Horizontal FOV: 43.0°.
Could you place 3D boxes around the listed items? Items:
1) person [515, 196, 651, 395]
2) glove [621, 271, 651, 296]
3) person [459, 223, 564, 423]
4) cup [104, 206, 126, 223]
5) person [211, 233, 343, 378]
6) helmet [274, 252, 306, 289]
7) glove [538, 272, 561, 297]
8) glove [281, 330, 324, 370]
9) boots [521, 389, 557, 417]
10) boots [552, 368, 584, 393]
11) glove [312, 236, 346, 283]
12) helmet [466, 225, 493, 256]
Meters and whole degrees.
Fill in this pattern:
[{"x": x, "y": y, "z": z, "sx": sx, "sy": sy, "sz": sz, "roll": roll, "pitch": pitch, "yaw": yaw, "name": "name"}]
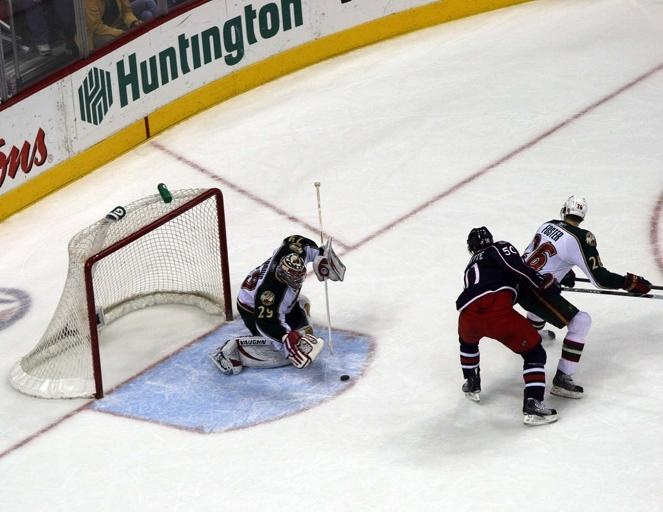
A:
[{"x": 1.720, "y": 0.180, "z": 5.978, "sx": 1.105, "sy": 1.190, "sz": 1.045, "roll": -5, "pitch": 20, "yaw": -2, "name": "person"}, {"x": 2.066, "y": 0.198, "z": 5.749, "sx": 0.231, "sy": 0.081, "sz": 0.124, "roll": 13, "pitch": 48, "yaw": -14, "name": "glove"}, {"x": 1.127, "y": 0.457, "z": 5.479, "sx": 0.620, "sy": 1.077, "sz": 0.864, "roll": -2, "pitch": 28, "yaw": 8, "name": "person"}, {"x": -1.603, "y": -0.309, "z": 6.298, "sx": 0.092, "sy": 0.089, "sz": 0.197, "roll": 13, "pitch": 30, "yaw": 31, "name": "cup"}, {"x": -0.413, "y": 0.421, "z": 6.321, "sx": 0.738, "sy": 0.781, "sz": 0.667, "roll": 15, "pitch": 54, "yaw": 6, "name": "person"}, {"x": -0.308, "y": 0.092, "z": 5.976, "sx": 0.217, "sy": 0.211, "sz": 0.267, "roll": 3, "pitch": 13, "yaw": -42, "name": "helmet"}, {"x": 1.437, "y": 0.197, "z": 5.586, "sx": 0.089, "sy": 0.113, "sz": 0.119, "roll": 31, "pitch": 36, "yaw": 20, "name": "glove"}, {"x": -0.228, "y": 0.648, "z": 5.951, "sx": 0.286, "sy": 0.089, "sz": 0.294, "roll": 34, "pitch": 50, "yaw": 23, "name": "glove"}, {"x": 1.316, "y": 0.948, "z": 5.333, "sx": 0.206, "sy": 0.140, "sz": 0.123, "roll": 2, "pitch": 28, "yaw": 14, "name": "boots"}, {"x": 1.560, "y": 0.847, "z": 5.672, "sx": 0.249, "sy": 0.196, "sz": 0.112, "roll": 0, "pitch": 13, "yaw": 10, "name": "boots"}, {"x": -0.004, "y": 0.033, "z": 6.236, "sx": 0.362, "sy": 0.123, "sz": 0.298, "roll": 18, "pitch": 48, "yaw": 4, "name": "glove"}, {"x": 0.978, "y": -0.102, "z": 5.651, "sx": 0.184, "sy": 0.187, "sz": 0.193, "roll": -2, "pitch": 36, "yaw": 7, "name": "helmet"}]
